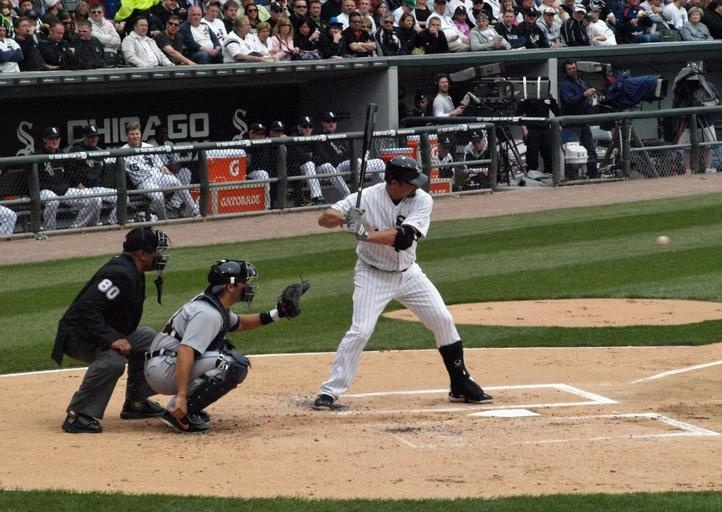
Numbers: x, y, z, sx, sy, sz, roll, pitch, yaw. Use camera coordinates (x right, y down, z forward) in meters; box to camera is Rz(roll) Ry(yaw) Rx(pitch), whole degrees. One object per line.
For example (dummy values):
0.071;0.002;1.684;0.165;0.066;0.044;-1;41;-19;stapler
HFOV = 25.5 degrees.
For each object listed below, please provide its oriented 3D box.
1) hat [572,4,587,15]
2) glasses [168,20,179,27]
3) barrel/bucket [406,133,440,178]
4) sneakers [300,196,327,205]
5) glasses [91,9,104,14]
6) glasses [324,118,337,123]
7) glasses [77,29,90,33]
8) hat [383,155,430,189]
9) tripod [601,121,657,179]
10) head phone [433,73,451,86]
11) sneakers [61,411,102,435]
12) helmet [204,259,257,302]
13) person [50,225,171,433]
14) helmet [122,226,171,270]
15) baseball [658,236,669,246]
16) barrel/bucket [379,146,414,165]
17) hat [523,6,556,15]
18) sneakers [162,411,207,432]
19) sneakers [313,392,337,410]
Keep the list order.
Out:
4.595;-5.174;33.482;0.320;0.168;0.471;9;12;-7;hat
-3.351;-4.126;28.367;0.141;0.140;0.158;6;16;-9;glasses
1.107;-1.822;28.633;0.549;0.700;0.224;-7;7;-42;barrel/bucket
-0.849;-0.955;28.224;0.471;0.171;0.153;2;2;-6;sneakers
-4.656;-4.271;28.018;0.201;0.088;0.145;-5;2;-20;glasses
-0.547;-2.443;29.056;0.120;0.056;0.260;-3;3;38;glasses
-4.769;-3.849;27.379;0.105;0.046;0.118;0;0;7;glasses
0.505;-0.959;18.464;0.452;0.227;0.318;5;32;-6;hat
5.064;-2.040;30.200;0.745;1.064;0.896;-3;8;-26;tripod
1.513;-3.336;30.048;0.259;0.178;0.210;-17;-15;8;head phone
-3.143;1.881;17.899;0.447;0.274;0.213;-1;9;-5;sneakers
-1.481;0.244;18.199;0.557;0.447;0.437;-9;18;-18;helmet
-2.840;0.852;18.133;1.366;1.817;0.551;-5;3;-10;person
-2.492;-0.076;18.191;0.614;0.485;0.469;6;-3;-11;helmet
4.624;-0.208;24.410;0.155;0.106;0.163;1;14;2;baseball
0.628;-1.796;27.990;0.714;0.341;0.852;0;0;0;barrel/bucket
3.820;-5.082;33.262;0.474;0.156;0.458;3;6;19;hat
-1.967;1.896;18.016;0.529;0.209;0.217;4;23;-18;sneakers
-0.416;1.703;18.593;0.302;0.144;0.207;-5;2;-10;sneakers
